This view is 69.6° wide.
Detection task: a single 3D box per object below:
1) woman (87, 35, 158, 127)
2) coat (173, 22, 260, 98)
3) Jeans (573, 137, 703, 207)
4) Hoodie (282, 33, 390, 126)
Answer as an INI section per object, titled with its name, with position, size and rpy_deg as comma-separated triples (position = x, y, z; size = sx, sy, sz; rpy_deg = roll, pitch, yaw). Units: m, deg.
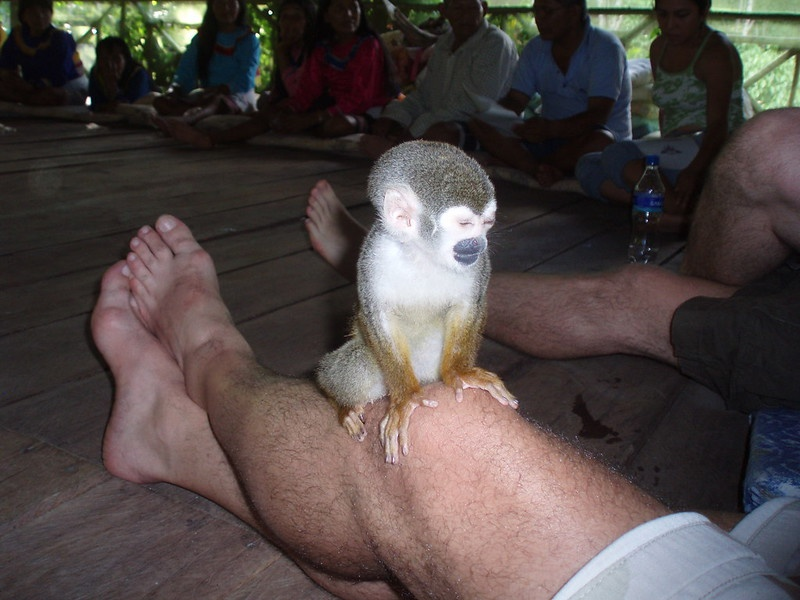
[woman]
position = -3.636, -2.857, 7.318
size = 0.741, 1.023, 1.453
rpy_deg = -7, 25, -12
[coat]
position = -2.123, -2.939, 7.044
size = 0.772, 0.673, 0.997
rpy_deg = 12, 44, 11
[Jeans]
position = 1.711, -0.996, 4.146
size = 0.459, 0.314, 0.808
rpy_deg = 27, 1, -18
[Hoodie]
position = -0.631, -2.358, 6.084
size = 0.878, 1.140, 1.128
rpy_deg = 15, 16, 27
